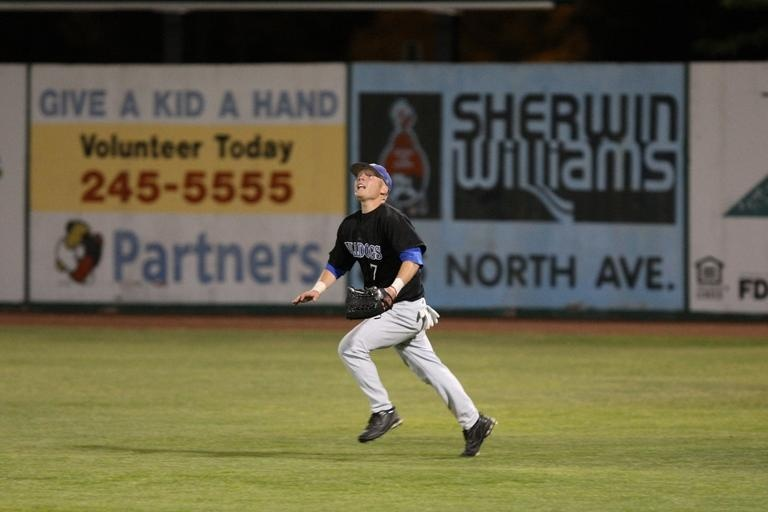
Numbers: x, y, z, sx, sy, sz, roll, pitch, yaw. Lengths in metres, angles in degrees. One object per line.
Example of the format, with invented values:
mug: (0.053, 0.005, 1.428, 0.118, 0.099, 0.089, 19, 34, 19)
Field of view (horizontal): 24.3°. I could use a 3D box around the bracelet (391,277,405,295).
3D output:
bracelet: (0.213, 0.406, 25.848, 0.240, 0.216, 0.164, 3, -3, -19)
